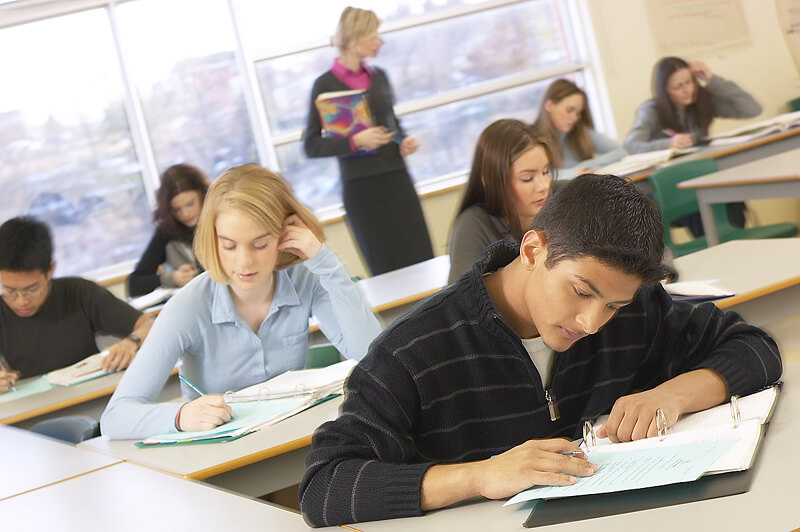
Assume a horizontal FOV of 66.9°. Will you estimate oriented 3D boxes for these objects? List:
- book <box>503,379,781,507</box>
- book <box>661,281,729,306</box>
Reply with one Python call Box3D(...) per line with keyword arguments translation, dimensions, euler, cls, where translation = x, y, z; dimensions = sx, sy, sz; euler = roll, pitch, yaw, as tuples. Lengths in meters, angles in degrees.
Box3D(translation=(0.485, 0.329, 1.079), dimensions=(0.285, 0.054, 0.280), euler=(-12, 3, 26), cls="book")
Box3D(translation=(0.965, 0.082, 1.957), dimensions=(0.137, 0.030, 0.133), euler=(-3, 9, -16), cls="book")
